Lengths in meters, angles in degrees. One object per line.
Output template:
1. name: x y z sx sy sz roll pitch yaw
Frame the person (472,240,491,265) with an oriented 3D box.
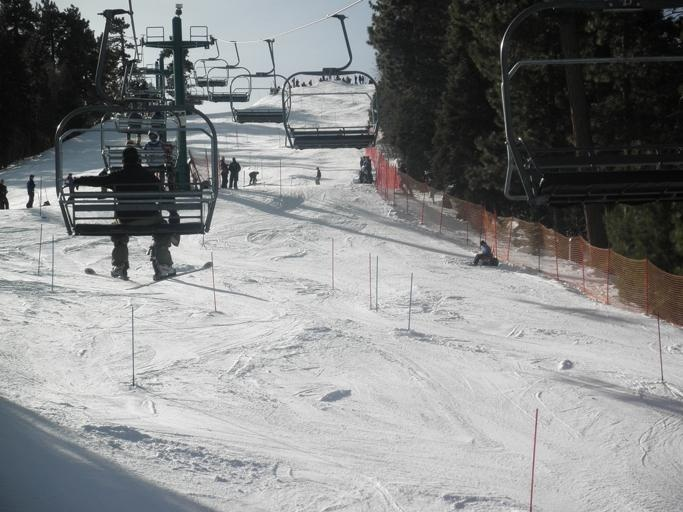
1. person: 5.425 -0.118 33.262 0.688 0.853 0.660 4 14 11

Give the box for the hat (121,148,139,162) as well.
1. hat: -4.798 -2.285 19.896 0.304 0.364 0.375 1 15 -10
